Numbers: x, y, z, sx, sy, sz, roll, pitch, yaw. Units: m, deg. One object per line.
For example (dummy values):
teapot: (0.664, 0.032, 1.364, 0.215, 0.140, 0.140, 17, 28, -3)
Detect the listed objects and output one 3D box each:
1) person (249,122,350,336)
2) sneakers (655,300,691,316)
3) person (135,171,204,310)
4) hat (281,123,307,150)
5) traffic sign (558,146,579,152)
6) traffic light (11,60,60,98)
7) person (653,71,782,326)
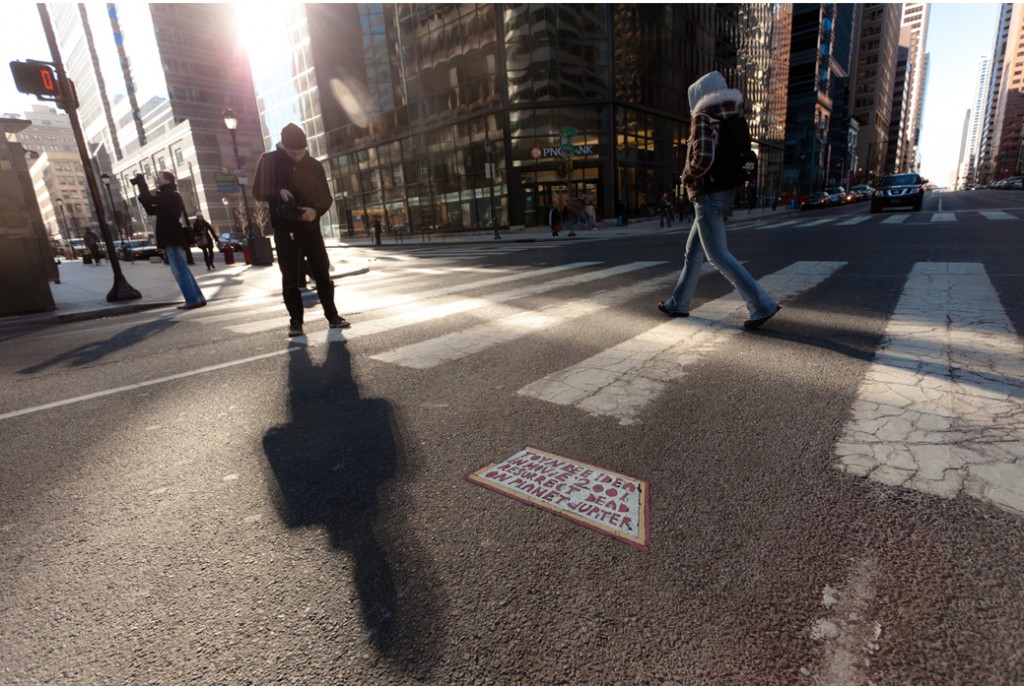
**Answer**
person: (-2.462, -1.301, 6.920, 0.835, 2.355, 0.995, -13, 19, -14)
sneakers: (1.767, -0.378, 6.606, 0.125, 0.143, 0.335, -8, 20, -29)
person: (-5.643, -1.678, 9.924, 0.595, 2.229, 1.115, -18, 20, -26)
hat: (-2.502, -2.334, 6.761, 0.272, 0.300, 0.371, -14, 19, -16)
traffic sign: (2.616, -9.222, 28.569, 0.493, 0.353, 1.471, -9, 18, -4)
traffic light: (-8.385, -4.630, 10.490, 0.666, 0.615, 0.591, -23, 23, -39)
person: (2.057, -1.440, 6.104, 1.070, 2.501, 1.231, -4, 19, 14)
